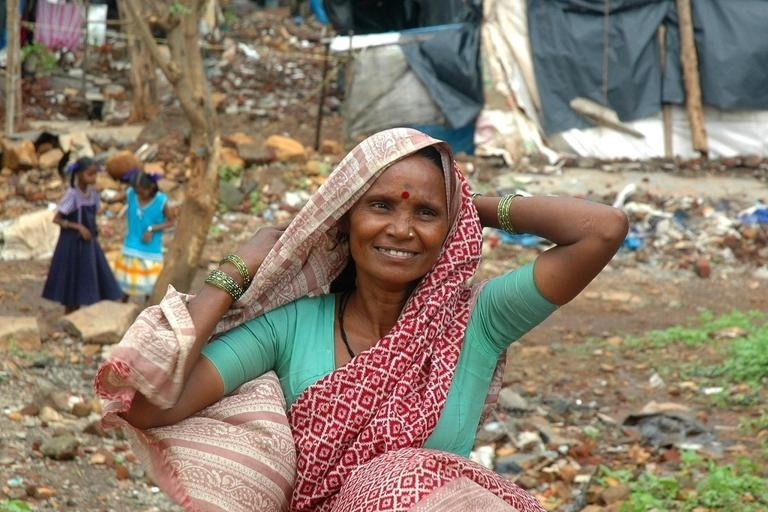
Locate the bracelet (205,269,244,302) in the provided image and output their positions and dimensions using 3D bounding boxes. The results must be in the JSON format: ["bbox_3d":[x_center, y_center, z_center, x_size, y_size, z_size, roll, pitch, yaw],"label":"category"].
[{"bbox_3d":[-0.872,0.167,5.718,0.233,0.106,0.209,18,5,-18],"label":"bracelet"}]

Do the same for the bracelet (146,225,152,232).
[{"bbox_3d":[-1.831,-0.202,8.194,0.040,0.039,0.010,-2,-23,9],"label":"bracelet"}]

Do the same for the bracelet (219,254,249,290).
[{"bbox_3d":[-0.773,0.074,5.653,0.064,0.181,0.161,-30,-4,-27],"label":"bracelet"}]

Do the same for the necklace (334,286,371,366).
[{"bbox_3d":[-0.202,0.381,5.734,0.207,0.315,0.059,-9,-10,-5],"label":"necklace"}]
